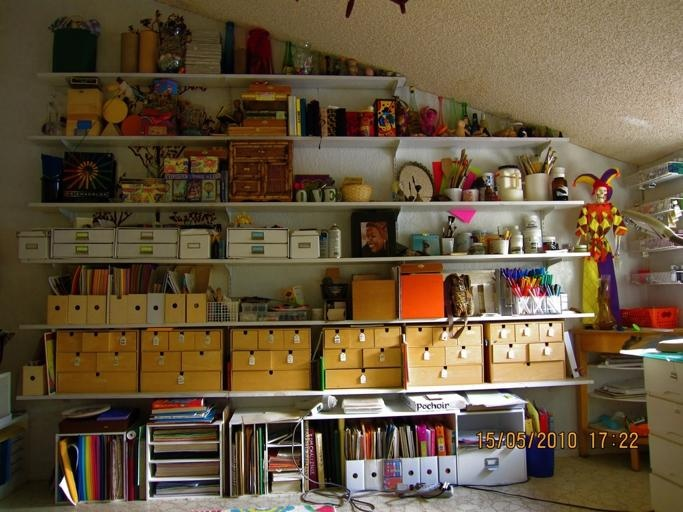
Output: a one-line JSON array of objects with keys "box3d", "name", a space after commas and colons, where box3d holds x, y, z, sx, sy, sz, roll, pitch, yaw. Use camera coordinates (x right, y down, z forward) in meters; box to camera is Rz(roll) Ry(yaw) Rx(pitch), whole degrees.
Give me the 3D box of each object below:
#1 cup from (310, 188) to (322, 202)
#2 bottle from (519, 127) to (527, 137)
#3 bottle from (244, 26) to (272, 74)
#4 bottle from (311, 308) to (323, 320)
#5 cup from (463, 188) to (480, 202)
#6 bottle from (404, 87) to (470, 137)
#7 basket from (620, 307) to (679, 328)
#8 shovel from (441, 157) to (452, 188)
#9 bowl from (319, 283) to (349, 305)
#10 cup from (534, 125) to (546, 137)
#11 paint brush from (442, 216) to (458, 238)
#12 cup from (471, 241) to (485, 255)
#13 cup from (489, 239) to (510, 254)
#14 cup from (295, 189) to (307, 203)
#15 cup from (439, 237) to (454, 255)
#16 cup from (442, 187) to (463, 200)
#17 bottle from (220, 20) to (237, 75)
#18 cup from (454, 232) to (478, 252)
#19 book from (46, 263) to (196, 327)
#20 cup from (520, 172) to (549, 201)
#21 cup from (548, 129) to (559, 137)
[{"box3d": [-0.204, -0.498, 5.133, 0.084, 0.108, 0.085, -1, -1, 0], "name": "cup"}, {"box3d": [1.529, -1.051, 5.316, 0.077, 0.033, 0.091, 1, 43, 9], "name": "bottle"}, {"box3d": [-0.692, -1.703, 5.261, 0.214, 0.401, 0.127, -1, -1, -9], "name": "bottle"}, {"box3d": [-0.197, 0.466, 5.158, 0.094, 0.087, 0.088, 0, -1, 7], "name": "bottle"}, {"box3d": [1.079, -0.514, 5.254, 0.119, 0.074, 0.109, 0, -2, 0], "name": "cup"}, {"box3d": [0.809, -1.216, 5.345, 0.485, 0.413, 0.296, -4, -3, -30], "name": "bottle"}, {"box3d": [2.601, 0.500, 5.257, 0.254, 0.134, 0.236, 2, -4, -22], "name": "basket"}, {"box3d": [0.899, -0.726, 5.413, 0.084, 0.243, 0.037, 4, 6, 6], "name": "shovel"}, {"box3d": [-0.054, 0.285, 5.064, 0.211, 0.093, 0.143, 1, -5, -4], "name": "bowl"}, {"box3d": [1.693, -1.069, 5.377, 0.062, 0.094, 0.108, 12, -12, -39], "name": "cup"}, {"box3d": [0.917, -0.244, 5.342, 0.129, 0.182, 0.050, 5, -8, -3], "name": "paint brush"}, {"box3d": [1.127, -0.081, 5.211, 0.104, 0.079, 0.102, 0, 0, 0], "name": "cup"}, {"box3d": [1.295, -0.081, 5.190, 0.139, 0.093, 0.133, 0, -4, 0], "name": "cup"}, {"box3d": [-0.328, -0.489, 5.099, 0.113, 0.101, 0.104, 2, -1, 0], "name": "cup"}, {"box3d": [0.876, -0.092, 5.240, 0.142, 0.193, 0.135, 0, -1, 0], "name": "cup"}, {"box3d": [0.935, -0.520, 5.259, 0.112, 0.074, 0.106, -1, -3, 0], "name": "cup"}, {"box3d": [-0.946, -1.742, 5.279, 0.125, 0.448, 0.104, -1, -1, -11], "name": "bottle"}, {"box3d": [1.015, -0.121, 5.261, 0.226, 0.184, 0.128, 1, -3, -1], "name": "cup"}, {"box3d": [-1.678, 0.299, 4.983, 1.222, 0.479, 0.114, -1, -1, -3], "name": "book"}, {"box3d": [1.637, -0.588, 5.316, 0.247, 0.228, 0.217, 2, -2, 4], "name": "cup"}, {"box3d": [1.799, -1.049, 5.368, 0.082, 0.058, 0.088, 0, -5, 0], "name": "cup"}]
